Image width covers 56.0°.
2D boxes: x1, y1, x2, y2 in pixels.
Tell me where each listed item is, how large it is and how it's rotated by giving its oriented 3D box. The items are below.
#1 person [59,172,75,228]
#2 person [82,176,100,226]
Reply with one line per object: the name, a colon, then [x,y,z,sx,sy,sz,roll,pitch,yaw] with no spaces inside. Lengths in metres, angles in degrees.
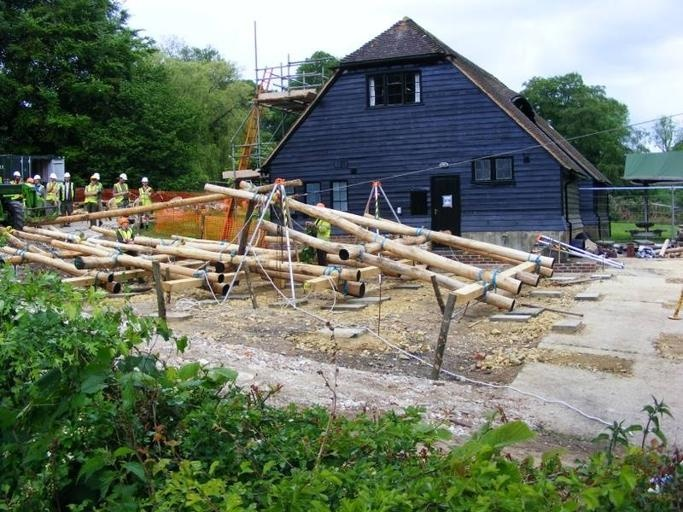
person: [-11.104,-2.501,25.831,0.464,1.644,1.051,1,5,-24]
person: [-9.577,-2.436,24.613,0.492,1.437,0.977,1,5,-21]
